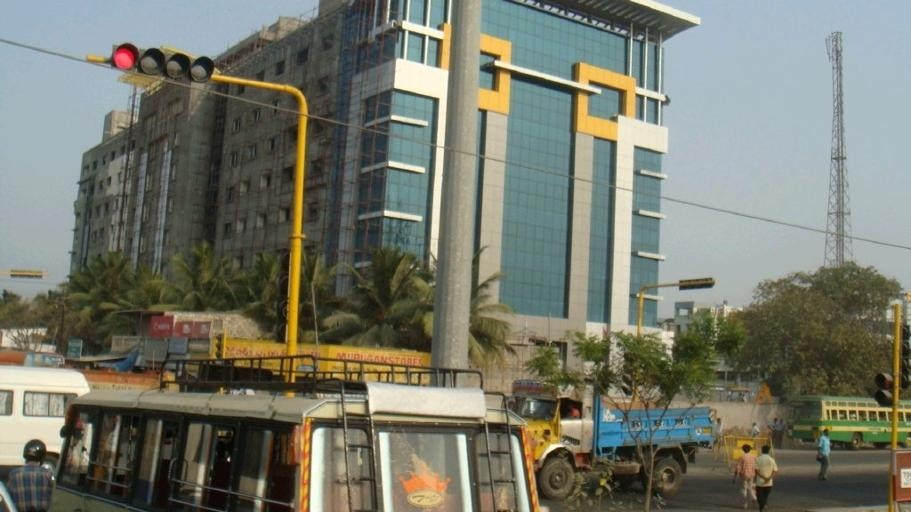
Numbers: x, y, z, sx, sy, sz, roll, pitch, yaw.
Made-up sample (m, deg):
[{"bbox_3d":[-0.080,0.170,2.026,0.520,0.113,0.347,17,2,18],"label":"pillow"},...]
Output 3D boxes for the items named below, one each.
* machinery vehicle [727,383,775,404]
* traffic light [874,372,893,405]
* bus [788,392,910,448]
[{"bbox_3d":[24.779,11.791,85.193,2.783,1.433,2.688,18,-25,-35],"label":"machinery vehicle"},{"bbox_3d":[21.360,6.683,50.536,0.787,1.519,0.949,-5,-12,24],"label":"traffic light"},{"bbox_3d":[31.904,13.383,80.743,10.084,4.094,4.879,5,-12,-24],"label":"bus"}]
